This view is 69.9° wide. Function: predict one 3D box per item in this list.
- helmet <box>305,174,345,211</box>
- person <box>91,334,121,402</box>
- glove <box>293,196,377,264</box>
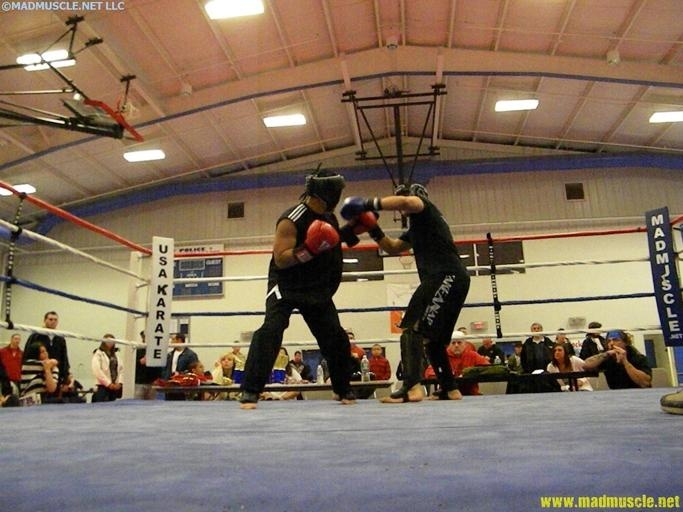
[{"bbox_3d":[-0.088,-0.365,2.688,0.221,0.144,0.157,6,23,1],"label":"helmet"},{"bbox_3d":[-2.811,1.362,5.856,0.330,0.666,0.842,6,-14,-24],"label":"person"},{"bbox_3d":[0.000,-0.120,2.571,0.436,0.215,0.141,-27,-11,2],"label":"glove"}]
